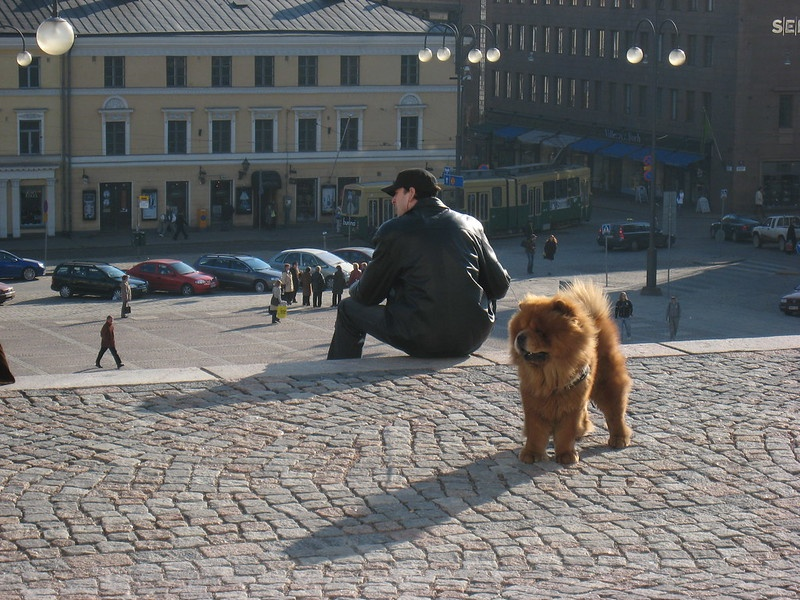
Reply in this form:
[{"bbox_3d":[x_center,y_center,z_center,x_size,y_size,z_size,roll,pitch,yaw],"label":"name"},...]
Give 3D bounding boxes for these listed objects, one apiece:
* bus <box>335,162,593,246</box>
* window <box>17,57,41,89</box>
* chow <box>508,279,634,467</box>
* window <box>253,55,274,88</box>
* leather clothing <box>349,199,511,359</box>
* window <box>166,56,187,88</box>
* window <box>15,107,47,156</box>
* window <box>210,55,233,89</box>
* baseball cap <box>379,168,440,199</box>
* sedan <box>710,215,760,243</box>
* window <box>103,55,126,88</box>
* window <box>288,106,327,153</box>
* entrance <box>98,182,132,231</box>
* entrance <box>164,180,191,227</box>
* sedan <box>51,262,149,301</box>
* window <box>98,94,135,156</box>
[{"bbox_3d":[2.307,-3.547,64.832,14.460,3.610,3.797,-5,7,-38],"label":"bus"},{"bbox_3d":[-15.420,-9.437,64.443,0.981,1.272,0.535,0,2,-29],"label":"window"},{"bbox_3d":[1.966,0.768,17.904,1.180,2.166,2.272,1,0,25],"label":"chow"},{"bbox_3d":[-6.114,-10.202,68.691,1.376,1.863,0.138,-5,14,-26],"label":"window"},{"bbox_3d":[0.382,-0.305,20.452,1.825,2.072,0.642,1,2,1],"label":"leather clothing"},{"bbox_3d":[-9.792,-9.978,67.374,1.392,1.789,0.140,-2,12,-24],"label":"window"},{"bbox_3d":[-15.448,-7.029,64.766,1.200,1.857,0.164,0,2,-32],"label":"window"},{"bbox_3d":[-7.916,-10.087,68.056,1.344,1.738,0.126,-6,17,-32],"label":"window"},{"bbox_3d":[0.162,-1.576,20.779,0.609,0.316,0.413,5,5,13],"label":"baseball cap"},{"bbox_3d":[13.371,-2.916,63.064,1.239,0.845,2.636,-4,13,-15],"label":"sedan"},{"bbox_3d":[-12.267,-9.802,66.114,1.307,1.690,0.129,-7,17,-36],"label":"window"},{"bbox_3d":[-4.282,-7.730,69.804,2.011,2.616,0.628,-3,8,-23],"label":"window"},{"bbox_3d":[-12.418,-4.108,67.015,1.964,2.656,0.343,-6,10,-40],"label":"entrance"},{"bbox_3d":[-9.845,-4.327,68.257,1.050,1.844,0.750,0,2,-17],"label":"entrance"},{"bbox_3d":[-9.881,-0.701,50.878,2.478,1.232,2.060,-1,11,10],"label":"sedan"},{"bbox_3d":[-12.239,-7.516,66.566,1.339,2.518,0.531,0,2,-18],"label":"window"}]
